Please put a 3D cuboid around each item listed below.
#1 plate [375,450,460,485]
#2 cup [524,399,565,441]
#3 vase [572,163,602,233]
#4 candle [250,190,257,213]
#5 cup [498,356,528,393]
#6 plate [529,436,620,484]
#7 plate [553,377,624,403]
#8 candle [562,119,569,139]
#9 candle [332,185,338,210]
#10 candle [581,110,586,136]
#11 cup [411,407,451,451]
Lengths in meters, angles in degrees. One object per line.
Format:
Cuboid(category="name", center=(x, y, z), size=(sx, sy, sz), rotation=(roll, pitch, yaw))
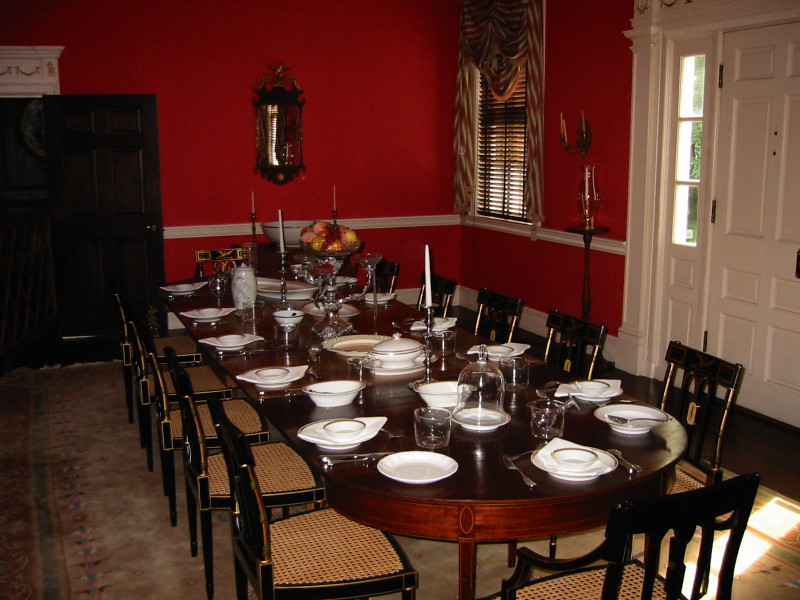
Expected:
Cuboid(category="plate", center=(0.055, 0.562, 2.098), size=(0.263, 0.052, 0.169), rotation=(0, 10, 18))
Cuboid(category="cup", center=(0.533, 0.430, 2.349), size=(0.156, 0.134, 0.126), rotation=(-6, 18, -25))
Cuboid(category="vase", center=(1.688, -0.899, 5.619), size=(0.184, 0.604, 0.493), rotation=(0, 11, 18))
Cuboid(category="candle", center=(-1.650, -1.096, 7.033), size=(0.064, 0.241, 0.149), rotation=(-5, 11, -9))
Cuboid(category="cup", center=(0.503, 0.321, 2.732), size=(0.120, 0.135, 0.134), rotation=(-2, 16, -1))
Cuboid(category="plate", center=(0.596, 0.543, 2.134), size=(0.284, 0.071, 0.229), rotation=(1, 10, 22))
Cuboid(category="plate", center=(0.810, 0.391, 2.664), size=(0.172, 0.038, 0.141), rotation=(-6, 13, 1))
Cuboid(category="candle", center=(1.541, -1.585, 5.837), size=(0.057, 0.253, 0.600), rotation=(0, 10, 15))
Cuboid(category="candle", center=(-0.766, -1.190, 7.382), size=(0.051, 0.283, 0.104), rotation=(-2, 11, 8))
Cuboid(category="candle", center=(1.663, -1.573, 5.640), size=(0.052, 0.222, 0.421), rotation=(0, 10, 16))
Cuboid(category="cup", center=(0.113, 0.458, 2.271), size=(0.122, 0.112, 0.147), rotation=(-2, 6, -10))
